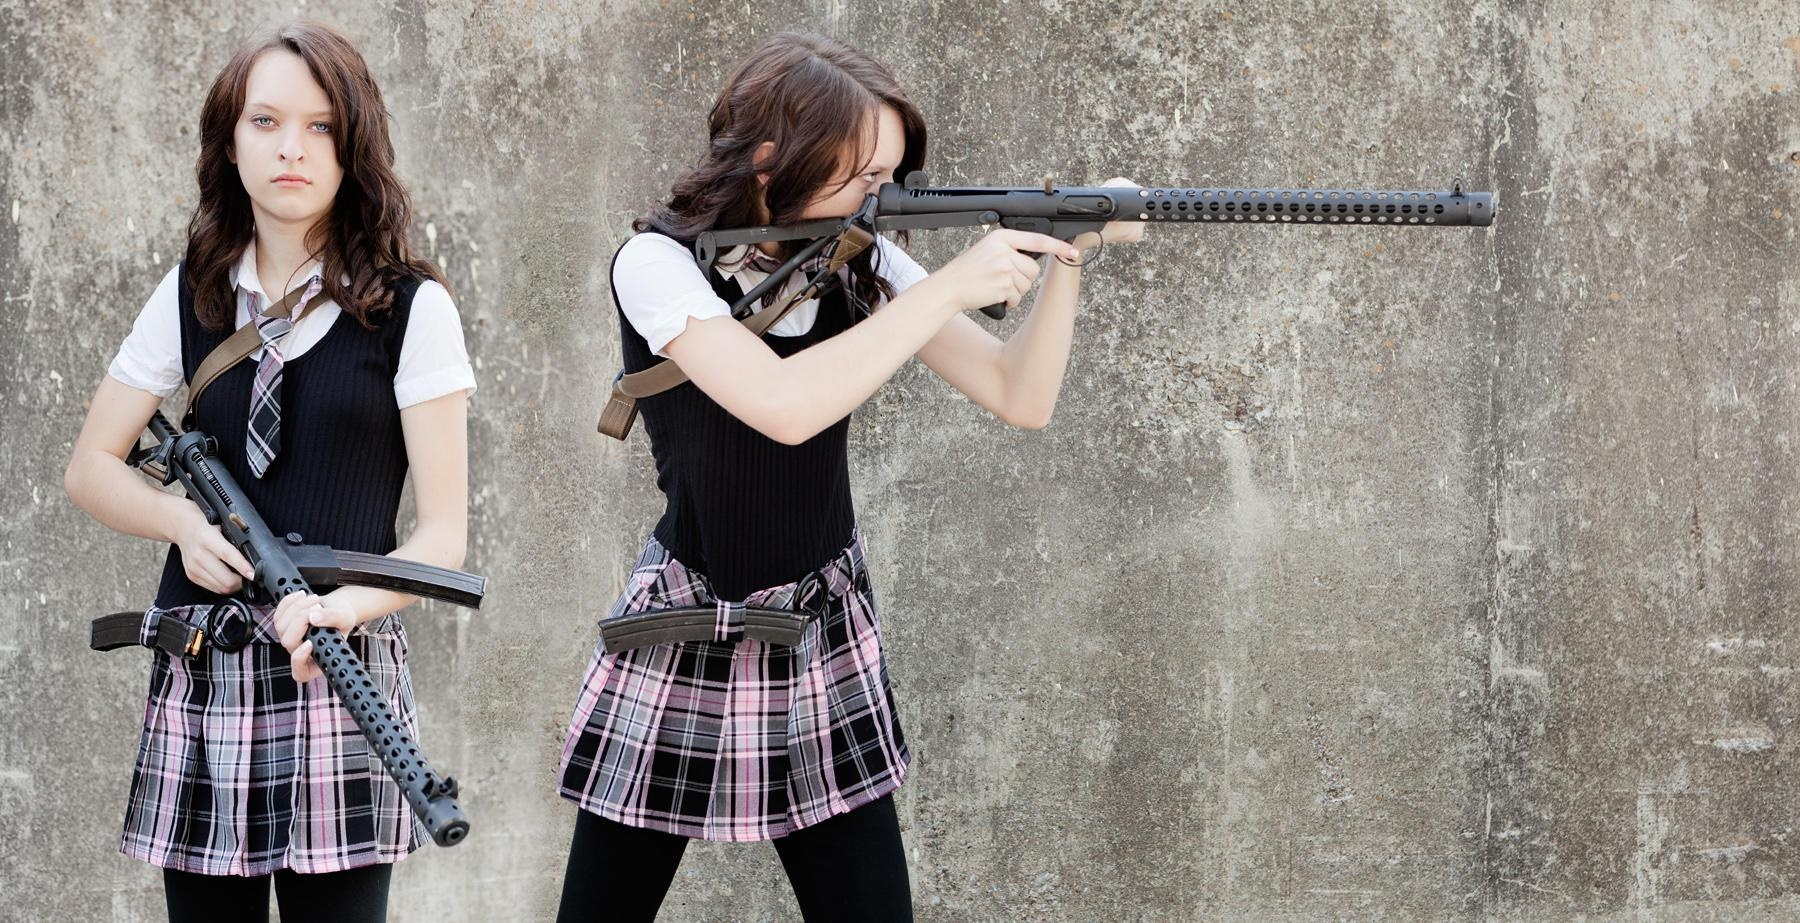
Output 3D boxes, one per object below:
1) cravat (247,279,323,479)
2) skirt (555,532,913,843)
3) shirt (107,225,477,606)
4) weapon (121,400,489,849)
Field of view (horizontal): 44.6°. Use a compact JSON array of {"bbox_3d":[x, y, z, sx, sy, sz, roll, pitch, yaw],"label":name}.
[{"bbox_3d":[-2.295,-0.309,8.089,0.251,0.675,0.078,-1,-12,-3],"label":"cravat"},{"bbox_3d":[-0.546,0.949,8.541,1.798,1.281,0.997,1,-4,-4],"label":"skirt"},{"bbox_3d":[-2.250,-0.162,8.125,1.554,1.327,0.791,6,5,1],"label":"shirt"},{"bbox_3d":[-2.091,0.608,8.238,0.849,1.886,0.675,-33,-12,-43],"label":"weapon"}]
